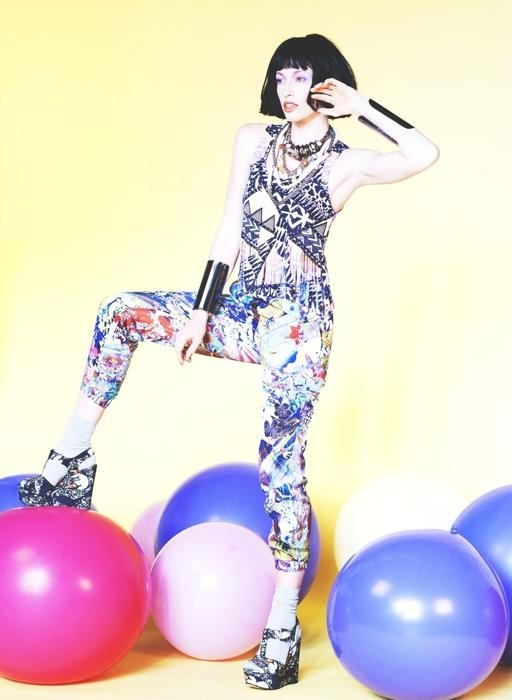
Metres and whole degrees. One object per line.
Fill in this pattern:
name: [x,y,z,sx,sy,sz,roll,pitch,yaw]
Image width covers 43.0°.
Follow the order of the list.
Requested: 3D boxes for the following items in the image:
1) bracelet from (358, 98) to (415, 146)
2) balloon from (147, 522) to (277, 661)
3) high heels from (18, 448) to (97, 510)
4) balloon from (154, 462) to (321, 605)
bracelet: [0.278,-0.500,1.430,0.044,0.053,0.209,5,32,-32]
balloon: [-0.136,0.602,1.617,0.339,0.346,0.306,6,-27,-10]
high heels: [-0.440,0.295,1.487,0.216,0.136,0.106,2,0,-2]
balloon: [-0.091,0.476,2.028,0.444,0.454,0.418,15,3,-13]
